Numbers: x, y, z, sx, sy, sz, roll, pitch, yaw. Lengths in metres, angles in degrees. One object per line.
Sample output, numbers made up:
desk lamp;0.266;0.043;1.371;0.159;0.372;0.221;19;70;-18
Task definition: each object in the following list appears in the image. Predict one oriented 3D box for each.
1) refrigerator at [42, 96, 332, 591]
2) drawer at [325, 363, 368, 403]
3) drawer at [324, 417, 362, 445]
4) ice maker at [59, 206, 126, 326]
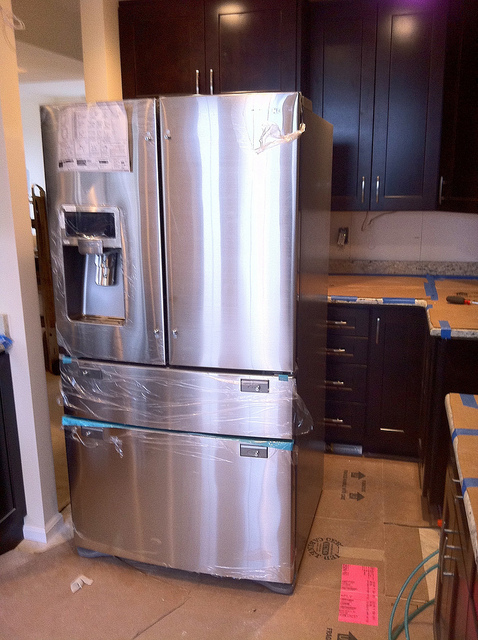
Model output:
refrigerator;-0.224;-0.164;1.944;0.780;2.129;0.836;2;30;-4
drawer;0.564;0.309;2.719;0.168;0.254;0.233;-1;13;-7
drawer;0.568;0.555;2.745;0.217;0.187;0.180;0;-5;17
ice maker;-0.476;-0.186;1.644;0.191;0.539;0.200;2;11;13
